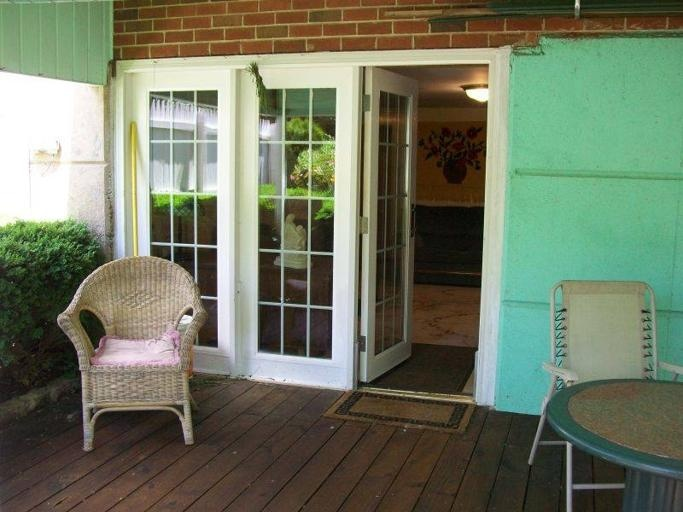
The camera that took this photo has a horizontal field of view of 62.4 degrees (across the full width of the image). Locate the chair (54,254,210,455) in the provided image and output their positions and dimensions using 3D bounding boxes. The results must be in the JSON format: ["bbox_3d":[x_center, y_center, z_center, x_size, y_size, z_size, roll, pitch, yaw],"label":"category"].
[{"bbox_3d":[-1.293,0.577,3.586,0.832,1.044,0.708,-1,12,-13],"label":"chair"}]

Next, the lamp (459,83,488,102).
[{"bbox_3d":[1.515,-1.872,6.465,0.282,0.186,0.822,3,11,10],"label":"lamp"}]

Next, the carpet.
[{"bbox_3d":[0.545,0.980,4.473,0.984,0.052,1.614,4,11,13],"label":"carpet"}]
